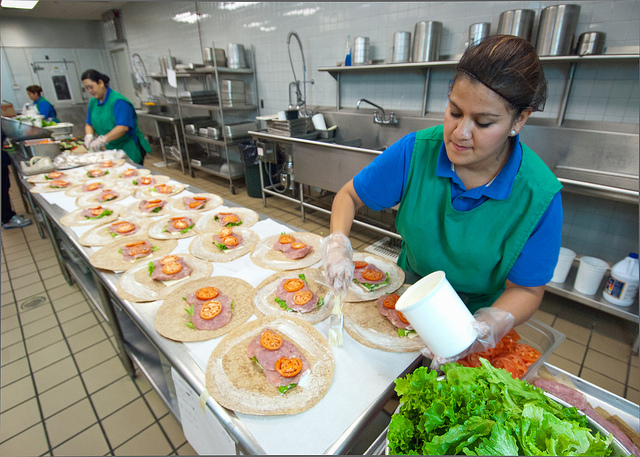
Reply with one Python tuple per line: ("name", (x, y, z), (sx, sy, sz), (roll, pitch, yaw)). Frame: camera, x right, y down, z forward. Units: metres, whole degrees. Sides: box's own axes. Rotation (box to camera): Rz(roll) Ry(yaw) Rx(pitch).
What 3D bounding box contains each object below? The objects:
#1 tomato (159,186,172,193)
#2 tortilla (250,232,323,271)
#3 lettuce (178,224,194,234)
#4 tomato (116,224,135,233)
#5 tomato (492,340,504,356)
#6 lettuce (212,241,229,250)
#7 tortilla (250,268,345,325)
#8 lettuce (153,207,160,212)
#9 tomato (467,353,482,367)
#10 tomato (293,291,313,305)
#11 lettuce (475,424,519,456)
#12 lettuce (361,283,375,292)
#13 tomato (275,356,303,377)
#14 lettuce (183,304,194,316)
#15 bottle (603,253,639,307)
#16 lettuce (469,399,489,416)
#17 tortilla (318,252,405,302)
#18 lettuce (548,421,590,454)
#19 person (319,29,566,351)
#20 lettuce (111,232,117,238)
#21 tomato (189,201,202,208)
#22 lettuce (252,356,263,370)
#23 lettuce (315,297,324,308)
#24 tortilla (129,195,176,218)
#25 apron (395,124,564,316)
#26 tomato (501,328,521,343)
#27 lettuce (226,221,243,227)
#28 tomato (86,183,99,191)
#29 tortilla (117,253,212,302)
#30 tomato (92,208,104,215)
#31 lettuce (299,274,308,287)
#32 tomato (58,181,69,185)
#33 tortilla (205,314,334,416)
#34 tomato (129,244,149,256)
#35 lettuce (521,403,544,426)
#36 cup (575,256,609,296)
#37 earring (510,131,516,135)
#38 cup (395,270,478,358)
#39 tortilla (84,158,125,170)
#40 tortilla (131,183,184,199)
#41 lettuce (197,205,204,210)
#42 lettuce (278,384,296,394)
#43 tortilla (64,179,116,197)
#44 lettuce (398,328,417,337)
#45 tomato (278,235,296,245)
("tomato", (-1.294, -0.324, 3.202), (0.110, 0.034, 0.104), (-4, 23, -2))
("tortilla", (-0.210, 0.133, 2.339), (0.438, 0.080, 0.385), (-4, 23, -1))
("lettuce", (-0.907, -0.002, 2.583), (0.031, 0.018, 0.088), (17, 38, 11))
("tomato", (-1.315, 0.001, 2.594), (0.105, 0.032, 0.090), (-9, 24, -13))
("tomato", (0.827, 0.549, 1.762), (0.078, 0.034, 0.031), (-24, 31, -39))
("lettuce", (-0.624, 0.105, 2.396), (0.060, 0.023, 0.059), (15, 14, -3))
("tortilla", (-0.110, 0.363, 1.980), (0.457, 0.132, 0.317), (-9, 19, -40))
("lettuce", (-1.239, -0.141, 2.900), (0.027, 0.028, 0.033), (-3, 2, -40))
("tomato", (0.707, 0.600, 1.746), (0.064, 0.063, 0.018), (-9, -17, -7))
("tomato", (-0.090, 0.359, 1.988), (0.098, 0.033, 0.079), (-2, 23, 2))
("lettuce", (0.586, 0.705, 1.268), (0.151, 0.081, 0.070), (-6, 24, -6))
("lettuce", (0.262, 0.317, 2.057), (0.029, 0.015, 0.044), (-32, 51, -26))
("tomato", (-0.141, 0.610, 1.694), (0.114, 0.048, 0.083), (-2, 23, 3))
("lettuce", (-0.650, 0.413, 1.926), (0.042, 0.021, 0.065), (-13, 25, -22))
("bottle", (2.419, 0.408, 3.018), (0.279, 0.352, 0.182), (-15, 26, -24))
("lettuce", (0.555, 0.619, 1.337), (0.063, 0.032, 0.037), (4, 25, 17))
("tortilla", (0.229, 0.231, 2.213), (0.479, 0.226, 0.396), (0, 18, -24))
("lettuce", (0.847, 0.706, 1.292), (0.136, 0.081, 0.061), (-2, 24, 4))
("person", (0.537, -0.210, 1.886), (0.808, 1.295, 1.070), (-22, 29, -35))
("lettuce", (-1.372, 0.045, 2.545), (0.027, 0.034, 0.017), (-6, -19, -4))
("tomato", (-0.946, -0.178, 2.888), (0.070, 0.017, 0.040), (-16, 36, -18))
("lettuce", (-0.278, 0.596, 1.710), (0.013, 0.044, 0.045), (-29, -2, 1))
("lettuce", (0.000, 0.382, 1.977), (0.029, 0.027, 0.058), (7, 25, 23))
("tortilla", (-1.283, -0.142, 2.919), (0.227, 0.041, 0.228), (-20, 46, -31))
("apron", (0.725, 0.013, 2.262), (0.687, 1.090, 0.750), (20, 22, 15))
("tomato", (0.897, 0.508, 1.801), (0.074, 0.022, 0.077), (-23, 15, 12))
("lettuce", (-0.584, -0.031, 2.610), (0.108, 0.022, 0.039), (-10, 24, -16))
("tomato", (-1.989, -0.364, 3.350), (0.066, 0.020, 0.065), (3, 30, 1))
("tortilla", (-0.903, 0.255, 2.214), (0.395, 0.204, 0.441), (-5, 22, -43))
("tomato", (-1.655, -0.128, 2.847), (0.055, 0.017, 0.056), (4, 36, 6))
("lettuce", (-0.092, 0.283, 2.075), (0.022, 0.047, 0.069), (-2, 43, -28))
("tomato", (-2.354, -0.412, 3.501), (0.050, 0.014, 0.047), (12, 7, -14))
("tortilla", (-0.221, 0.603, 1.743), (0.562, 0.188, 0.440), (-3, 23, 2))
("tomato", (-1.104, 0.125, 2.327), (0.077, 0.022, 0.074), (11, 33, -8))
("lettuce", (0.731, 0.630, 1.312), (0.069, 0.068, 0.019), (10, -14, -7))
("cup", (2.224, 0.402, 3.127), (0.200, 0.268, 0.180), (20, 27, 23))
("earring", (0.857, -0.423, 1.698), (0.023, 0.016, 0.009), (-24, 31, -39))
("cup", (0.499, 0.354, 1.619), (0.323, 0.322, 0.197), (6, 26, 21))
("tortilla", (-2.303, -0.685, 4.099), (0.387, 0.033, 0.381), (-14, 25, -24))
("tortilla", (-1.399, -0.295, 3.210), (0.232, 0.037, 0.230), (3, 22, 4))
("lettuce", (-0.891, -0.161, 2.888), (0.031, 0.013, 0.058), (8, 26, 26))
("lettuce", (-0.144, 0.683, 1.637), (0.031, 0.015, 0.051), (33, 39, 26))
("tortilla", (-2.059, -0.344, 3.376), (0.255, 0.042, 0.246), (-2, 26, -10))
("lettuce", (0.406, 0.497, 1.839), (0.051, 0.016, 0.041), (17, 47, 10))
("tomato", (-0.211, 0.066, 2.395), (0.064, 0.022, 0.061), (-14, 35, -31))
